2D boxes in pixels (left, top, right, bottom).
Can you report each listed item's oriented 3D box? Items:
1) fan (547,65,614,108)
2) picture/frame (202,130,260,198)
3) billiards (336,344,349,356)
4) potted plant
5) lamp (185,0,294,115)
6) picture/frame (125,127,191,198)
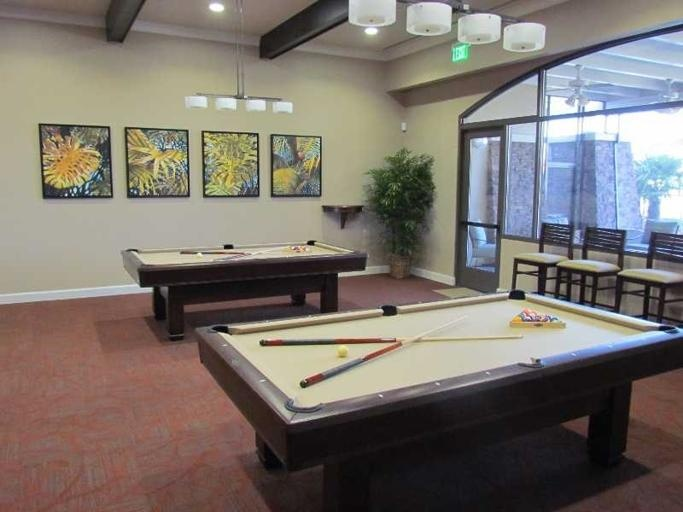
[{"bbox_3d":[2.693,-1.900,5.646,0.531,0.295,0.498,1,12,9],"label":"fan"},{"bbox_3d":[-1.630,-1.339,7.121,1.133,1.097,0.079,-1,0,-29],"label":"picture/frame"},{"bbox_3d":[0.017,0.487,2.567,0.054,0.050,0.063,1,-21,39],"label":"billiards"},{"bbox_3d":[0.955,-0.679,7.972,0.890,1.999,0.874,-4,15,-17],"label":"potted plant"},{"bbox_3d":[-1.427,-2.671,6.604,1.593,1.535,1.497,-3,9,-21],"label":"lamp"},{"bbox_3d":[-2.529,-1.291,6.725,1.139,1.187,0.047,1,0,-34],"label":"picture/frame"}]
